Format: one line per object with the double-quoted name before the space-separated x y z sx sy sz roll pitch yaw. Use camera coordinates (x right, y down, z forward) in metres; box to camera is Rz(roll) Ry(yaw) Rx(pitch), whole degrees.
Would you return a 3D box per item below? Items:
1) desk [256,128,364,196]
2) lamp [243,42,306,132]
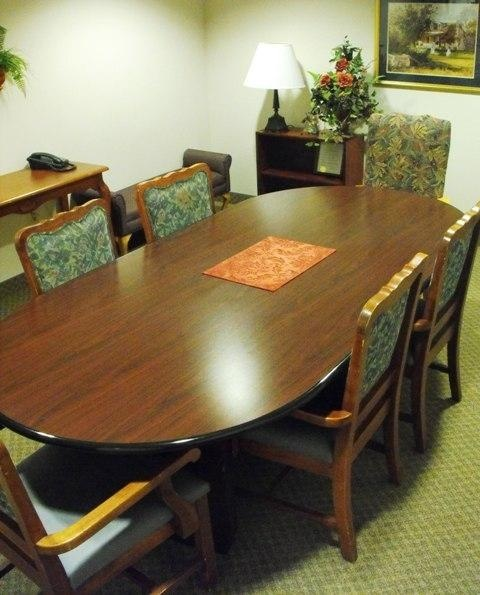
"desk" 0.597 -1.156 4.177 0.972 0.759 0.311 11 28 28
"lamp" 0.326 -1.758 4.224 0.441 0.697 0.537 7 25 20
